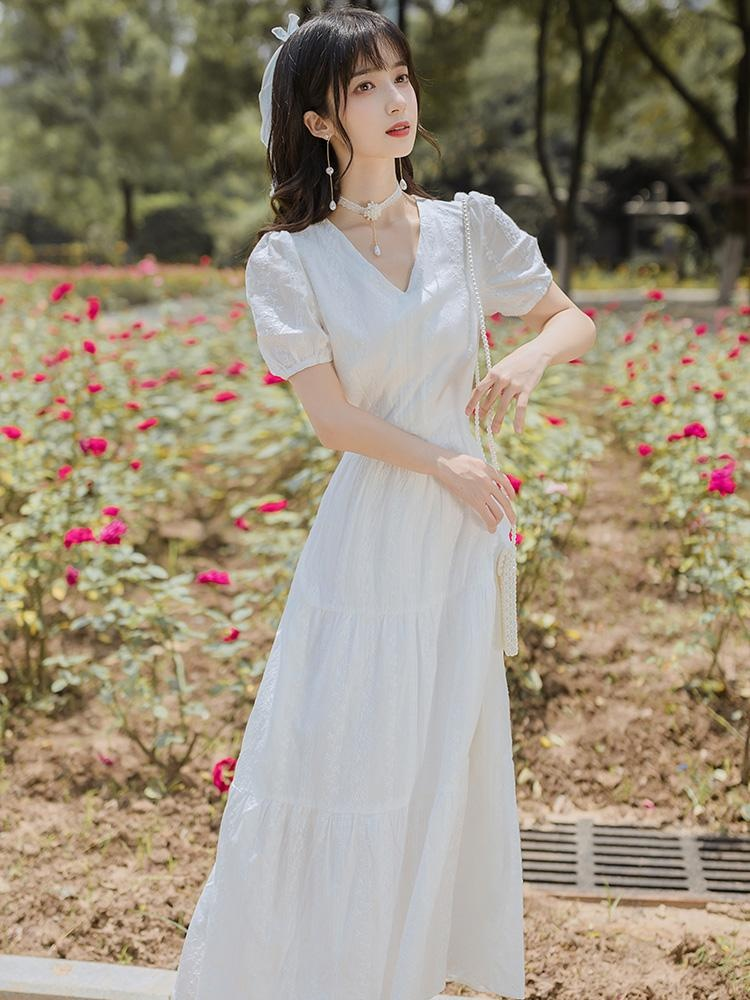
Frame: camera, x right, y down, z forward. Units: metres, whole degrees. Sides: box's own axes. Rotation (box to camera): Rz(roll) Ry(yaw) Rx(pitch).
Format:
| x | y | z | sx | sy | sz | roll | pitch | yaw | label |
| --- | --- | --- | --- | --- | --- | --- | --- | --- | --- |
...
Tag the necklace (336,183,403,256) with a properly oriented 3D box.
| x | y | z | sx | sy | sz | roll | pitch | yaw | label |
| --- | --- | --- | --- | --- | --- | --- | --- | --- | --- |
| 0.001 | -0.517 | 2.185 | 0.107 | 0.142 | 0.028 | -6 | -10 | 2 | necklace |
